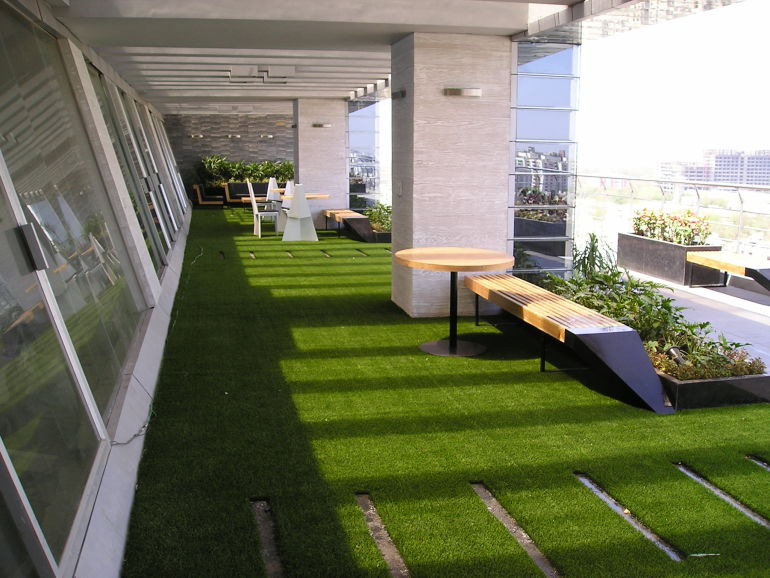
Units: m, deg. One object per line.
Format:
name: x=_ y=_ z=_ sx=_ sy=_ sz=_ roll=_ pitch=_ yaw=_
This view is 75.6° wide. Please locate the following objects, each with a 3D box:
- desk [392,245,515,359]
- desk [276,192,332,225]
desk: x=0.725 y=0.106 z=5.446 sx=1.399 sy=0.826 sz=1.250 roll=-3 pitch=13 yaw=-15
desk: x=-2.333 y=-2.575 z=14.582 sx=1.138 sy=0.533 sz=2.071 roll=4 pitch=12 yaw=17
